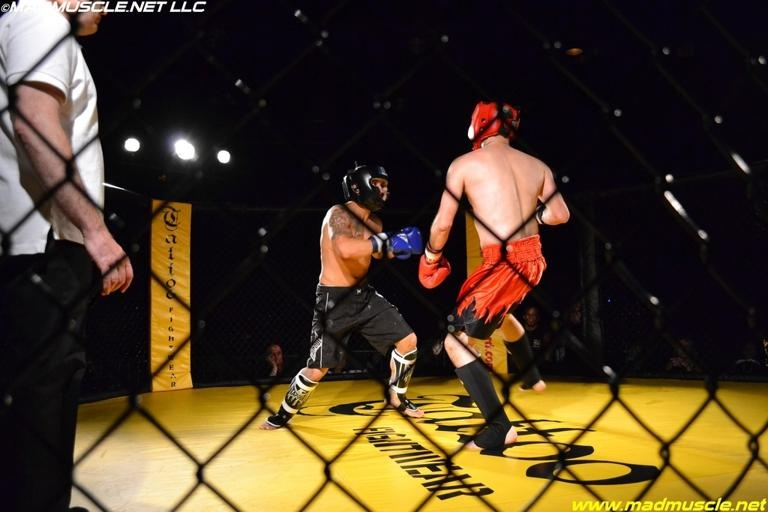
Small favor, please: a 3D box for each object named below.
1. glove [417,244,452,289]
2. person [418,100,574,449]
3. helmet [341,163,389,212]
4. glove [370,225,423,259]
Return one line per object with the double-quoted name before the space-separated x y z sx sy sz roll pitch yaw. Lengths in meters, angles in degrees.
"glove" 0.341 0.074 4.605 0.251 0.263 0.110 8 5 -5
"person" 0.680 0.089 4.267 0.886 2.052 1.528 8 -2 15
"helmet" -0.104 -0.541 5.345 0.354 0.382 0.301 32 15 31
"glove" 0.091 -0.100 4.574 0.353 0.210 0.619 9 -2 -5
